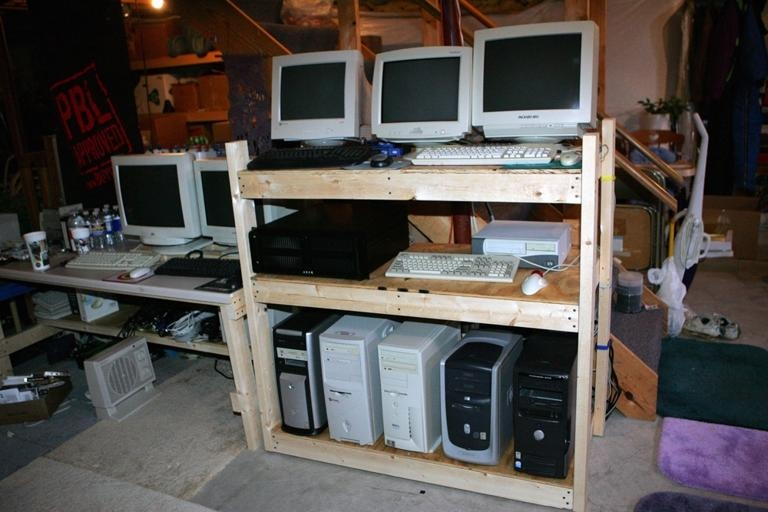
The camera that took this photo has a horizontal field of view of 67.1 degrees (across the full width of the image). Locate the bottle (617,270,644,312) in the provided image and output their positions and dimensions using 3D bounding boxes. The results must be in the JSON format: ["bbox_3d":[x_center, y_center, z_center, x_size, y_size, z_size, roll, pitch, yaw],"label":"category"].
[{"bbox_3d":[1.556,0.233,3.670,0.173,0.225,0.172,-9,27,5],"label":"bottle"}]

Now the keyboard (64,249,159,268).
[{"bbox_3d":[-1.796,0.027,3.801,0.422,0.056,0.142,1,30,18],"label":"keyboard"}]

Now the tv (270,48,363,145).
[{"bbox_3d":[-0.393,-0.945,3.466,0.589,0.454,0.309,2,13,15],"label":"tv"}]

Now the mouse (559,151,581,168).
[{"bbox_3d":[0.911,-0.473,2.839,0.101,0.070,0.126,2,14,16],"label":"mouse"}]

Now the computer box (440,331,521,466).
[{"bbox_3d":[0.540,0.772,3.201,0.321,0.655,0.400,6,17,30],"label":"computer box"}]

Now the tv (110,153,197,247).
[{"bbox_3d":[-1.539,-0.385,3.920,0.657,0.593,0.350,1,15,16],"label":"tv"}]

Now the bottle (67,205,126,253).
[{"bbox_3d":[-2.050,-0.193,4.184,0.414,0.342,0.366,1,8,10],"label":"bottle"}]

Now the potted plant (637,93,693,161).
[{"bbox_3d":[2.892,-1.314,5.972,0.570,0.666,0.740,5,16,27],"label":"potted plant"}]

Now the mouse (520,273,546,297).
[{"bbox_3d":[0.773,0.142,2.967,0.173,0.093,0.098,-11,17,-35],"label":"mouse"}]

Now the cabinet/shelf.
[{"bbox_3d":[0.195,0.359,3.168,2.177,1.727,0.754,4,19,17],"label":"cabinet/shelf"}]
